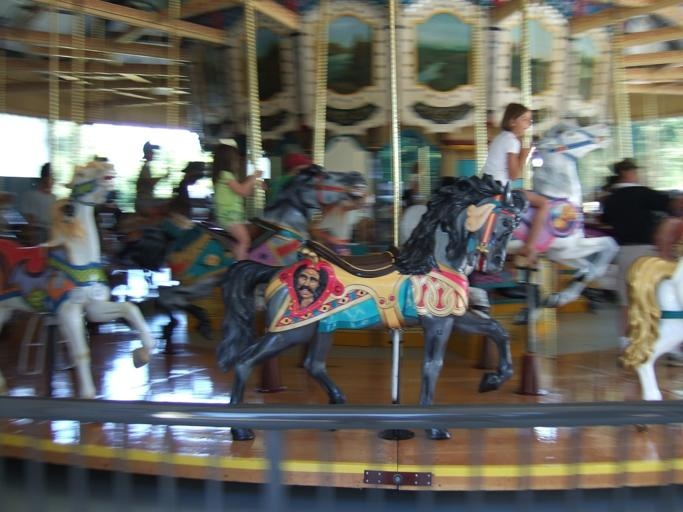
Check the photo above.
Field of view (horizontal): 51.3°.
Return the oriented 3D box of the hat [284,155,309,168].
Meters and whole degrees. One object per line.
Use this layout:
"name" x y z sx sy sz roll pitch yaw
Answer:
"hat" -0.329 -0.767 5.792 0.245 0.074 0.127 -9 18 -14
